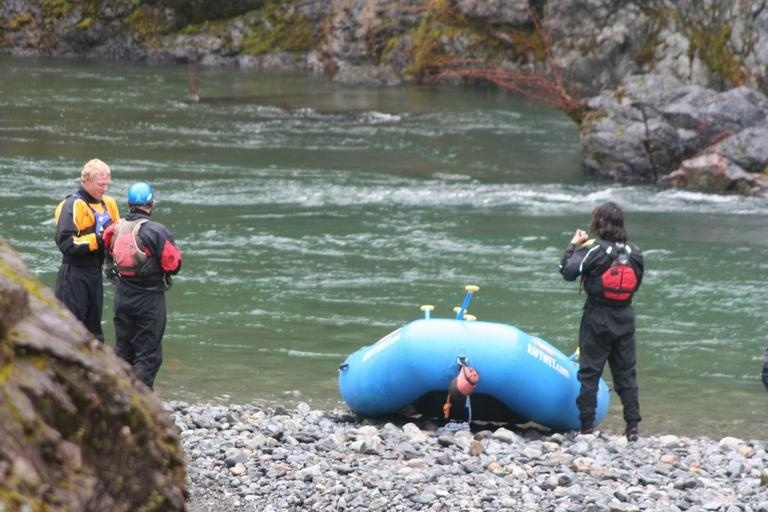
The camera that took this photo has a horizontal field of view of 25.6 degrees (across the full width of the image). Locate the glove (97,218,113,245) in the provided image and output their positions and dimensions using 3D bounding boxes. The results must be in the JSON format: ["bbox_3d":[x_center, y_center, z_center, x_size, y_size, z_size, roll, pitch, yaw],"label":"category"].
[{"bbox_3d":[-9.516,-0.832,57.062,0.581,0.760,0.300,5,-11,-5],"label":"glove"}]
